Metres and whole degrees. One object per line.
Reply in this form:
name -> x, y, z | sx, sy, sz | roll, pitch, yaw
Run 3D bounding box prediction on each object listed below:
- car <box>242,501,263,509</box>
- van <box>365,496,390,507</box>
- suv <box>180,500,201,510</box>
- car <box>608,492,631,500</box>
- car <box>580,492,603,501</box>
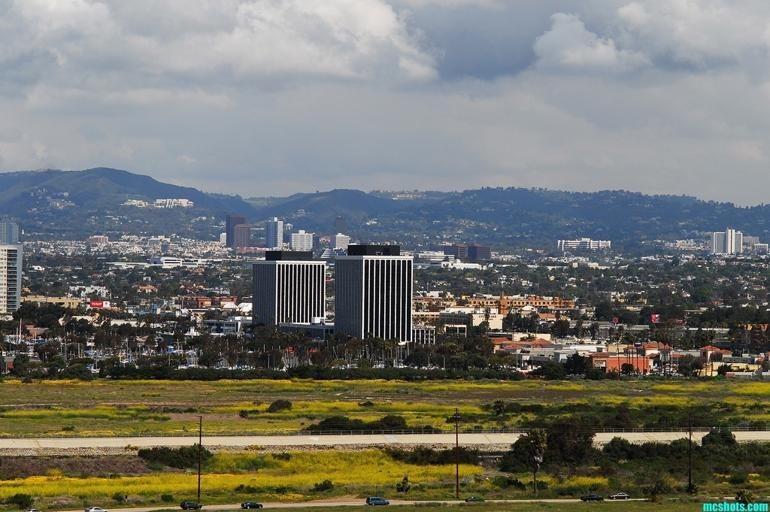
car -> -23.191, 41.961, 334.410 | 3.522, 1.031, 2.021 | 0, -1, -7
van -> -2.175, 41.521, 336.424 | 3.371, 0.891, 1.551 | -2, 5, -3
suv -> -33.447, 41.923, 334.187 | 3.066, 0.902, 1.322 | -4, 12, -12
car -> 38.750, 40.985, 339.162 | 3.091, 0.799, 1.210 | 3, -4, 1
car -> 34.108, 41.026, 338.643 | 2.708, 0.754, 1.294 | -2, 2, -7
